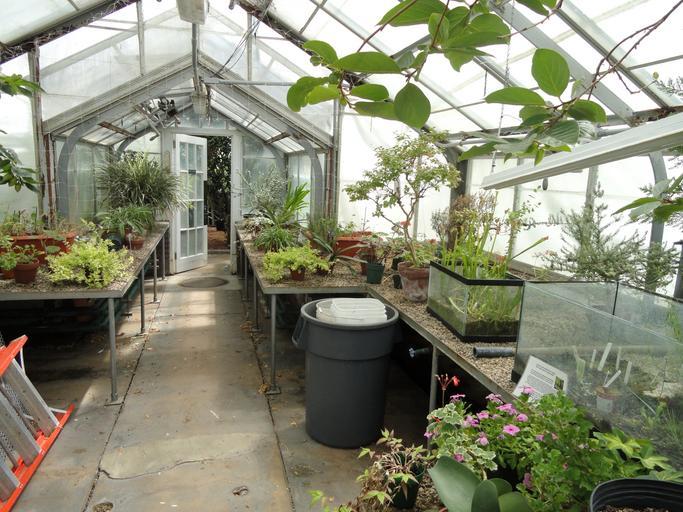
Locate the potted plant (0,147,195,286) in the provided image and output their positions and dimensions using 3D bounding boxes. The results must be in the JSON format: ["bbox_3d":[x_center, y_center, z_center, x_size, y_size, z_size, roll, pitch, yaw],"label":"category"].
[{"bbox_3d":[-3.066,-0.384,6.179,2.175,2.119,1.997,0,25,-38],"label":"potted plant"}]

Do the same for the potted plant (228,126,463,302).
[{"bbox_3d":[0.118,-0.478,4.554,2.208,1.193,1.925,-2,3,-5],"label":"potted plant"}]

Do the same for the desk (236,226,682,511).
[{"bbox_3d":[0.528,0.798,2.974,1.785,0.441,2.129,2,7,-14],"label":"desk"}]

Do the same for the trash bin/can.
[{"bbox_3d":[0.007,0.865,3.126,0.638,0.929,0.250,4,16,4],"label":"trash bin/can"}]
